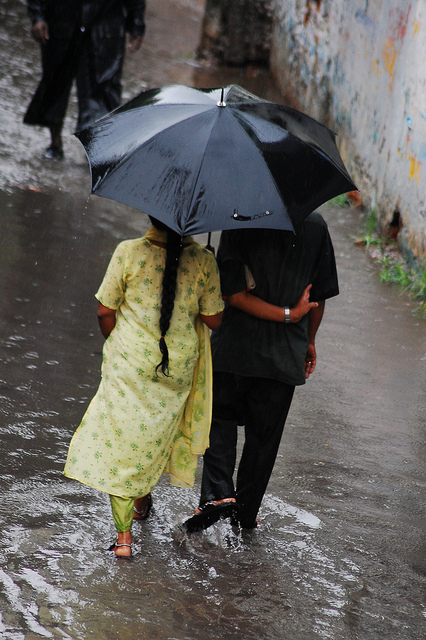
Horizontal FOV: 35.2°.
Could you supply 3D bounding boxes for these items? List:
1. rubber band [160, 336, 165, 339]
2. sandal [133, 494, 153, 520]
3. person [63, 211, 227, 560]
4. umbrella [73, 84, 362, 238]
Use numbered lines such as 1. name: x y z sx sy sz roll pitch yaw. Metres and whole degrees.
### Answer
1. rubber band: -0.179 0.059 2.358 0.009 0.006 0.009 1 -9 6
2. sandal: -0.290 0.784 2.825 0.045 0.054 0.142 4 20 9
3. person: -0.210 0.247 2.431 0.528 1.199 0.423 10 21 -11
4. umbrella: 0.038 -0.516 2.240 0.876 0.464 0.751 4 21 -22
